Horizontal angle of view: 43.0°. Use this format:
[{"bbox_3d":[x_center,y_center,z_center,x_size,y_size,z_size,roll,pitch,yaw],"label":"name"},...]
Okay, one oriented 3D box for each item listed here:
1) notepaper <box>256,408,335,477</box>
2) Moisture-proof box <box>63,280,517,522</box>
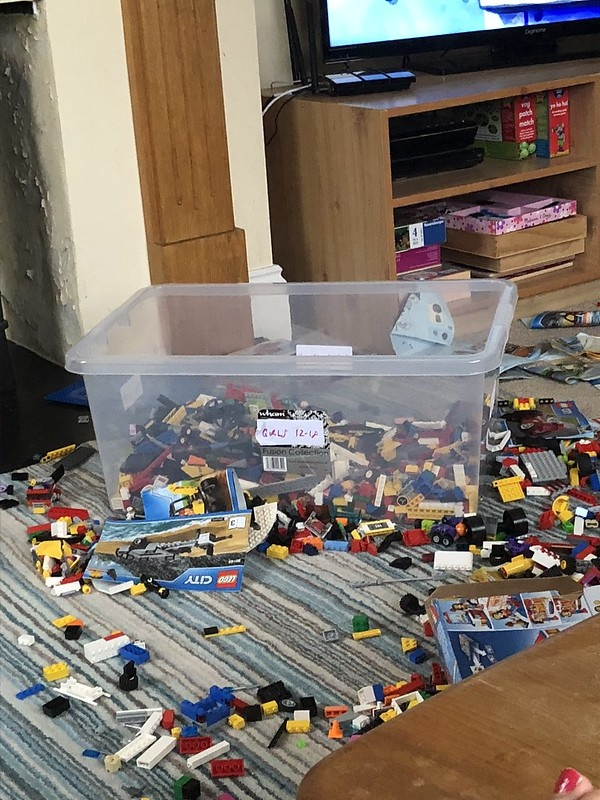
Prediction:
[{"bbox_3d":[-0.009,0.064,1.134,0.123,0.098,0.026,4,29,9],"label":"notepaper"},{"bbox_3d":[-0.013,0.023,1.293,0.726,0.255,0.413,1,26,11],"label":"Moisture-proof box"}]
